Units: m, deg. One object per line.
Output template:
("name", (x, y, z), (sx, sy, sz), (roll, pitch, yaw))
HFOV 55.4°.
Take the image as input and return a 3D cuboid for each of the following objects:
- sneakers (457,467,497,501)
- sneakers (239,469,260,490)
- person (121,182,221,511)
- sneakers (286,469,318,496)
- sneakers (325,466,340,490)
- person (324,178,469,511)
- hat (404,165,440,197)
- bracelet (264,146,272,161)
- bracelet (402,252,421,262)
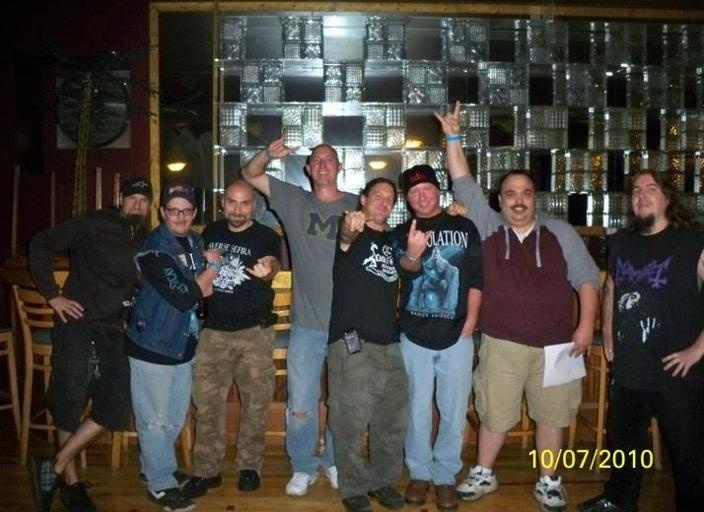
("sneakers", (1.006, 1.823, 5.377), (0.370, 0.216, 0.182), (1, -7, -19))
("sneakers", (-0.827, 1.819, 5.461), (0.115, 0.125, 0.191), (2, -5, -1))
("person", (-1.391, 0.718, 5.227), (0.677, 2.551, 0.444), (1, 2, -17))
("sneakers", (-0.413, 1.840, 5.442), (0.127, 0.125, 0.289), (-3, -16, 15))
("sneakers", (-0.156, 1.791, 5.494), (0.092, 0.257, 0.116), (-4, 25, 3))
("person", (0.159, 0.683, 5.147), (0.688, 2.573, 0.453), (1, 2, -1))
("hat", (0.530, -0.575, 5.287), (0.238, 0.182, 0.239), (-8, -1, 30))
("bracelet", (-0.680, -0.839, 5.504), (0.023, 0.087, 0.093), (-7, 21, -21))
("bracelet", (0.447, 0.008, 4.997), (0.127, 0.063, 0.134), (1, 2, -2))
